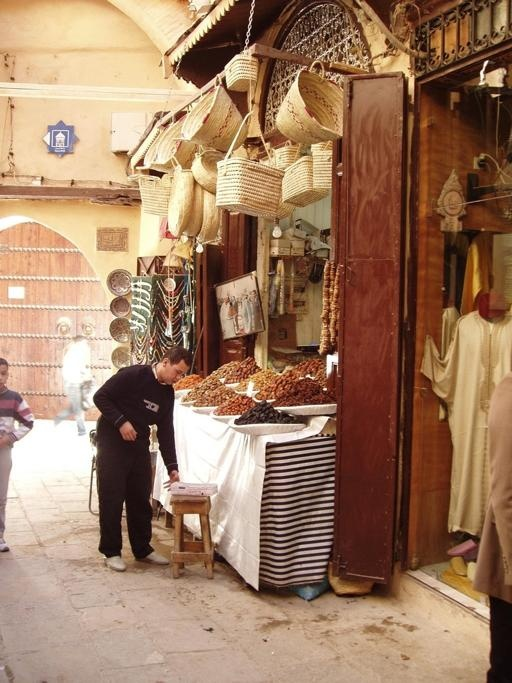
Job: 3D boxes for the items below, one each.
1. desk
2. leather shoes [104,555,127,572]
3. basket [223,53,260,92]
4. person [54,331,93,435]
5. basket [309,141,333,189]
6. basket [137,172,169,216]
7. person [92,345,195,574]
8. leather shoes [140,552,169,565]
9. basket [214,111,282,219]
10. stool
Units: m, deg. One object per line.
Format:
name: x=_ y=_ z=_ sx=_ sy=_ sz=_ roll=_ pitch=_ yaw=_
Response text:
desk: x=-0.004 y=0.942 z=4.138 sx=0.468 sy=0.988 sz=1.189 roll=2 pitch=-2 yaw=-24
leather shoes: x=-0.781 y=1.390 z=4.046 sx=0.054 sy=0.056 sz=0.144 roll=3 pitch=-7 yaw=-31
basket: x=-0.076 y=-1.816 z=4.376 sx=0.184 sy=0.177 sz=0.265 roll=3 pitch=-12 yaw=-21
person: x=-2.586 y=0.638 z=10.272 sx=0.412 sy=1.608 sz=0.502 roll=-1 pitch=4 yaw=-40
basket: x=0.378 y=-1.107 z=4.092 sx=0.112 sy=0.321 sz=0.149 roll=1 pitch=-1 yaw=1
basket: x=-0.894 y=-1.393 z=6.352 sx=0.367 sy=0.401 sz=0.341 roll=1 pitch=-4 yaw=-11
person: x=-0.638 y=0.706 z=4.304 sx=0.619 sy=1.387 sz=0.549 roll=0 pitch=0 yaw=28
leather shoes: x=-0.590 y=1.418 z=4.264 sx=0.147 sy=0.065 sz=0.075 roll=0 pitch=-6 yaw=10
basket: x=-0.029 y=-1.079 z=4.438 sx=0.255 sy=0.359 sz=0.444 roll=0 pitch=-2 yaw=42
stool: x=-0.351 y=1.193 z=4.031 sx=0.290 sy=0.466 sz=0.284 roll=2 pitch=4 yaw=-5
